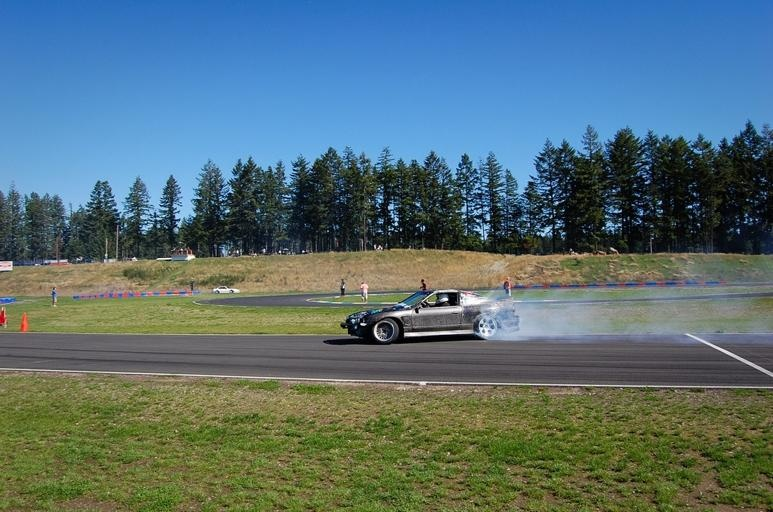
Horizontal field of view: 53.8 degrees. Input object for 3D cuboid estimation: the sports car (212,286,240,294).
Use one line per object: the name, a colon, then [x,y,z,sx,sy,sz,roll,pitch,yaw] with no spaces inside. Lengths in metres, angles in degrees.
sports car: [-16.650,3.623,78.297,2.168,0.594,1.262,-3,0,2]

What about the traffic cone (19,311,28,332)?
traffic cone: [-18.542,3.383,38.752,0.590,1.068,0.525,2,12,-31]
